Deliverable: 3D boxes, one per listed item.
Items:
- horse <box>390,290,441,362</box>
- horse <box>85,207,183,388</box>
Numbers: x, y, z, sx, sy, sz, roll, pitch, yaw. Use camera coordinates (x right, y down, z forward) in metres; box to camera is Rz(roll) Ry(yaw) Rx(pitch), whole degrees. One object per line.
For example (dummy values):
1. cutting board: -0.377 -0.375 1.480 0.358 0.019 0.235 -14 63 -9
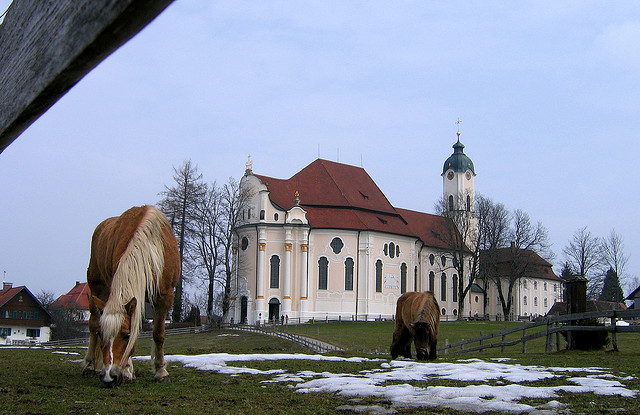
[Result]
1. horse: 2.913 3.648 22.429 1.181 2.226 2.683 1 -12 -3
2. horse: -4.030 1.790 16.112 1.585 3.530 5.863 -2 3 -14
